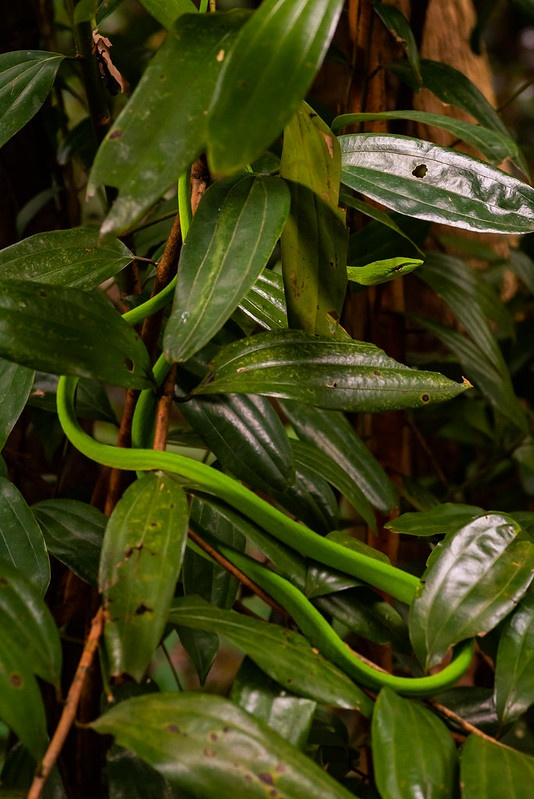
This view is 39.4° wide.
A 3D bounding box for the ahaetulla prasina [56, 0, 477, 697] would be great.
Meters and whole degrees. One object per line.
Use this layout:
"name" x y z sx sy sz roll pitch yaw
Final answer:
"ahaetulla prasina" -0.017 -0.002 0.498 0.255 0.374 0.067 2 -28 -24
